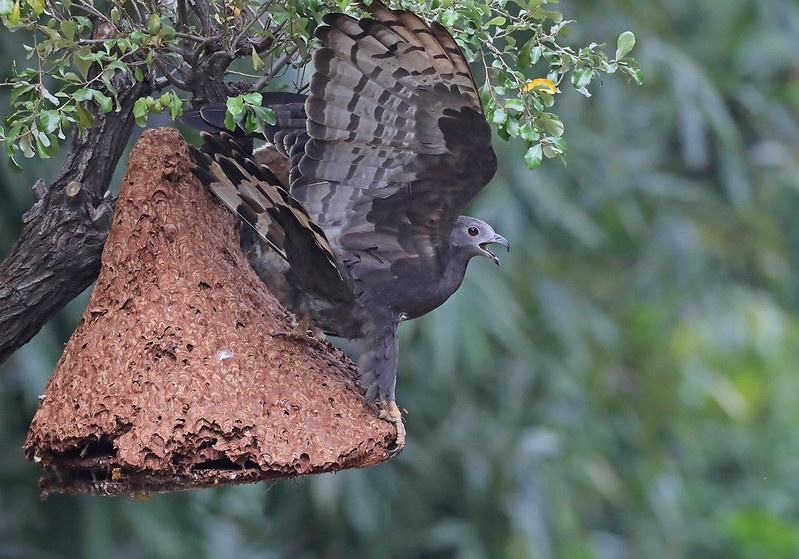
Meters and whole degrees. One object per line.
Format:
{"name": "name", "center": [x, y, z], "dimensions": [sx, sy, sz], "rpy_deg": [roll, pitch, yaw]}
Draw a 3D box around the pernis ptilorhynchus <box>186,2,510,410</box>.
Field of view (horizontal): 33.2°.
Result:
{"name": "pernis ptilorhynchus", "center": [-0.160, -0.494, 6.788], "dimensions": [1.746, 1.564, 1.954], "rpy_deg": [7, -13, -6]}
